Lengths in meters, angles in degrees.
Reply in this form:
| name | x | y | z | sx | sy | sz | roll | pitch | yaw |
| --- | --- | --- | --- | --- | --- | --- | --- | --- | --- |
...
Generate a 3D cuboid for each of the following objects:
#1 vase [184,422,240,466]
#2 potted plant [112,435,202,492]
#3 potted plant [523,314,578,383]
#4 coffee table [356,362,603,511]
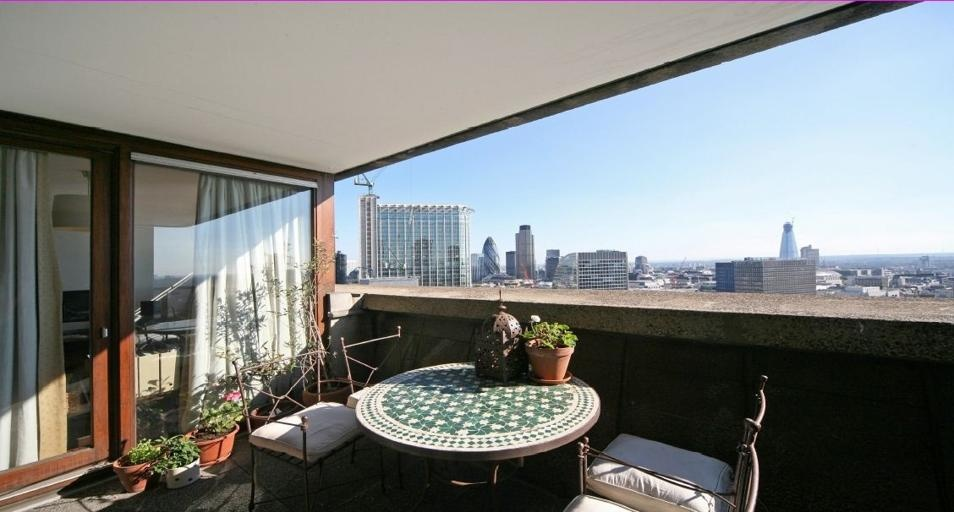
| name | x | y | z | sx | sy | sz | roll | pitch | yaw |
| --- | --- | --- | --- | --- | --- | --- | --- | --- | --- |
| vase | -2.827 | 2.020 | 5.884 | 0.412 | 0.176 | 0.402 | -2 | -1 | -43 |
| potted plant | -3.255 | 2.106 | 5.593 | 0.739 | 0.211 | 0.578 | 1 | -4 | -5 |
| potted plant | 0.719 | 0.895 | 5.137 | 0.529 | 0.473 | 0.529 | 1 | 1 | -34 |
| coffee table | -0.011 | 1.787 | 5.032 | 2.090 | 0.832 | 1.949 | 0 | 1 | 17 |
